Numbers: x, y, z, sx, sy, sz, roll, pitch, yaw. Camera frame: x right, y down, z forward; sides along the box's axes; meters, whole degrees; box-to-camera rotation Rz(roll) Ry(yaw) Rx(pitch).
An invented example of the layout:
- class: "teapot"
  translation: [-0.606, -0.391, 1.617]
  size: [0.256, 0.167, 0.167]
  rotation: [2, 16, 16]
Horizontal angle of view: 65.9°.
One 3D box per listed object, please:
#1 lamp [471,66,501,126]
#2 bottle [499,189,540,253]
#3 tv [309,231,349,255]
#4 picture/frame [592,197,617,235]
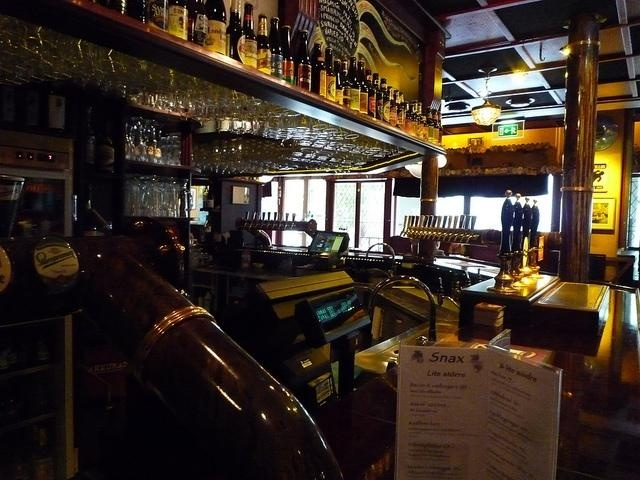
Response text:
- class: "lamp"
  translation: [2.227, -1.923, 6.582]
  size: [0.359, 0.694, 0.357]
  rotation: [1, 3, -14]
- class: "bottle"
  translation: [1.142, -0.113, 2.874]
  size: [0.346, 0.293, 0.354]
  rotation: [0, 3, 13]
- class: "tv"
  translation: [0.103, 0.031, 5.293]
  size: [0.401, 0.236, 0.305]
  rotation: [5, 37, 26]
- class: "picture/frame"
  translation: [4.766, -0.458, 8.385]
  size: [0.051, 0.565, 0.560]
  rotation: [6, 1, -23]
